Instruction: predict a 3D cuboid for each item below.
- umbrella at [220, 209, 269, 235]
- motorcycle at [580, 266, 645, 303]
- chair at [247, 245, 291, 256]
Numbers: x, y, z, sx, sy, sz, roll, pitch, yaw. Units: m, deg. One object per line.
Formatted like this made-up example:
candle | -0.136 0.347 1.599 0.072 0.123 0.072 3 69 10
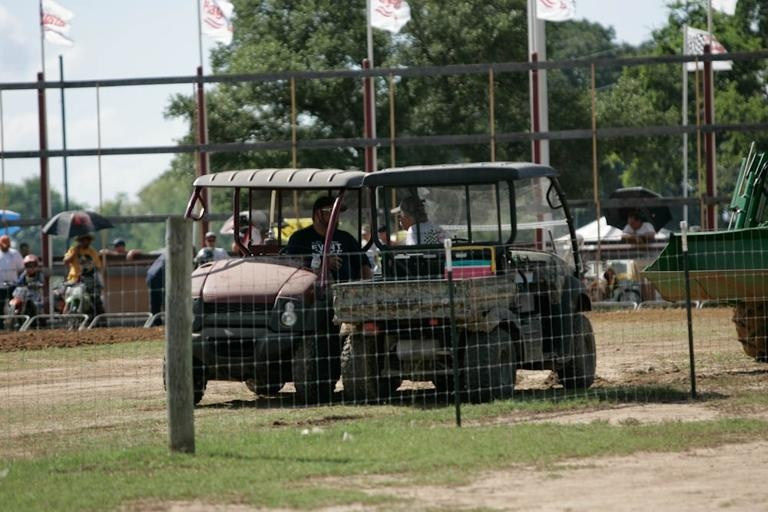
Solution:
umbrella | -3.468 -0.931 46.967 1.067 0.591 0.734 2 -4 -5
motorcycle | 6.882 0.863 54.718 1.625 1.150 0.718 -3 -2 6
chair | -2.911 -0.158 46.344 0.792 0.272 0.320 -2 -2 -10
